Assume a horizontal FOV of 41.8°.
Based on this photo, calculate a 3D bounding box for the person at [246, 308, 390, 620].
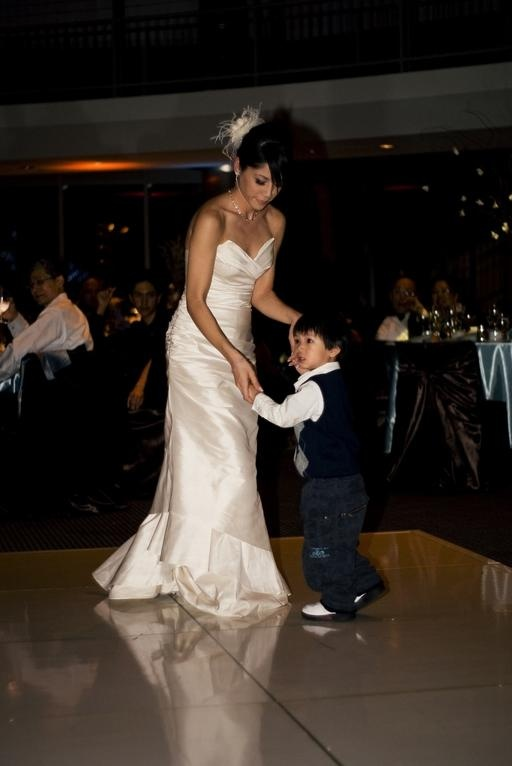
[{"bbox_3d":[0.201,0.328,2.101,0.368,0.785,0.186,1,-5,-31],"label":"person"}]

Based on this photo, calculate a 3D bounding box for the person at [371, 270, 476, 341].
[{"bbox_3d":[1.401,-0.635,5.671,0.772,0.644,0.674,-3,-5,19],"label":"person"}]

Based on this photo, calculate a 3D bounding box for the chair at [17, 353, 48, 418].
[{"bbox_3d":[-1.406,0.023,4.224,0.154,0.413,0.154,0,-4,-17],"label":"chair"}]

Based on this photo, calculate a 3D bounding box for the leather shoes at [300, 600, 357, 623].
[{"bbox_3d":[0.213,0.689,2.042,0.130,0.049,0.062,4,-8,5],"label":"leather shoes"}]
